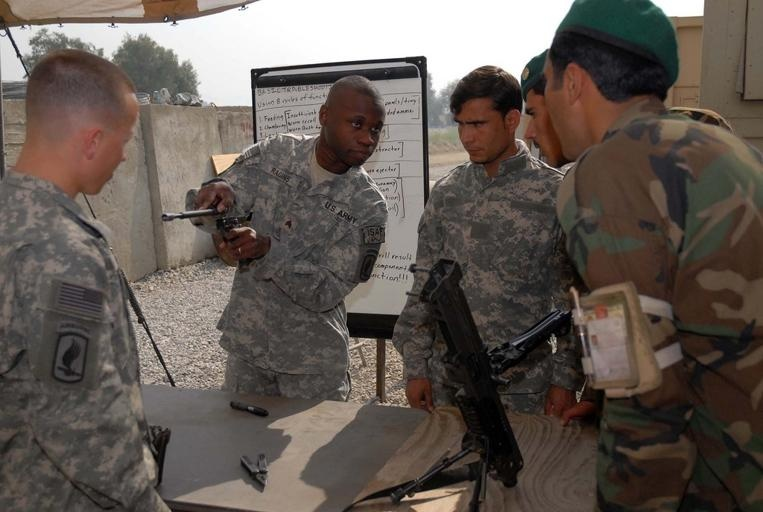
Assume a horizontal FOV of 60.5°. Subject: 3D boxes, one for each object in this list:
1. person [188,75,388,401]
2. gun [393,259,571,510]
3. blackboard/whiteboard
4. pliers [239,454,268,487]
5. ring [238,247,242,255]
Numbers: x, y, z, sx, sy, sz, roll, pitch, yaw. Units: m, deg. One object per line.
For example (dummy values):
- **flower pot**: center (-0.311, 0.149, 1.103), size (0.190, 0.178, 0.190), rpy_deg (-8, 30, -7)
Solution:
- **person**: center (-0.495, -0.096, 3.700), size (1.056, 1.817, 0.618), rpy_deg (-1, 3, -17)
- **gun**: center (0.317, 0.455, 2.521), size (0.497, 0.935, 0.465), rpy_deg (-26, 6, -26)
- **blackboard/whiteboard**: center (-0.337, -0.462, 5.239), size (1.609, 2.352, 0.168), rpy_deg (-2, -9, 6)
- **pliers**: center (-0.496, 0.841, 2.598), size (0.065, 0.044, 0.140), rpy_deg (2, 13, -22)
- **ring**: center (-0.721, -0.027, 3.351), size (0.016, 0.035, 0.016), rpy_deg (0, 3, 0)
